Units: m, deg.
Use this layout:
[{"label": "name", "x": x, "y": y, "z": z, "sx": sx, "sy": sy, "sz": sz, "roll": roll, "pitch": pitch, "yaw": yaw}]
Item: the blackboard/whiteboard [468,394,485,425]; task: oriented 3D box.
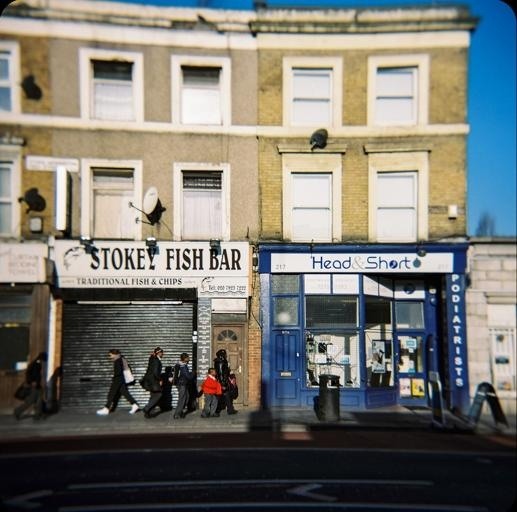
[{"label": "blackboard/whiteboard", "x": 5.263, "y": 3.693, "z": 22.284, "sx": 0.353, "sy": 0.713, "sz": 0.560, "roll": 2, "pitch": -4, "yaw": -2}]

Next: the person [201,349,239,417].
[{"label": "person", "x": -0.947, "y": 3.319, "z": 24.077, "sx": 0.708, "sy": 1.721, "sz": 1.566, "roll": 0, "pitch": -5, "yaw": 14}]

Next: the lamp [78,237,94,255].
[{"label": "lamp", "x": -4.596, "y": -0.279, "z": 24.929, "sx": 0.439, "sy": 0.449, "sz": 0.262, "roll": 3, "pitch": -5, "yaw": -14}]

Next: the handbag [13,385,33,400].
[{"label": "handbag", "x": -5.964, "y": 3.497, "z": 23.441, "sx": 0.335, "sy": 0.418, "sz": 0.163, "roll": 9, "pitch": -39, "yaw": 10}]

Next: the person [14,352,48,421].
[{"label": "person", "x": -5.847, "y": 3.340, "z": 23.729, "sx": 0.711, "sy": 1.707, "sz": 0.925, "roll": 2, "pitch": -4, "yaw": -10}]

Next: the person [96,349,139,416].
[{"label": "person", "x": -3.635, "y": 3.327, "z": 24.262, "sx": 0.990, "sy": 1.726, "sz": 0.814, "roll": 1, "pitch": -4, "yaw": 2}]

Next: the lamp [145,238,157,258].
[{"label": "lamp", "x": -2.888, "y": -0.262, "z": 25.002, "sx": 0.308, "sy": 0.491, "sz": 0.416, "roll": 2, "pitch": -5, "yaw": -8}]

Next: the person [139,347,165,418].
[{"label": "person", "x": -2.752, "y": 3.264, "z": 23.802, "sx": 0.514, "sy": 1.759, "sz": 0.788, "roll": 2, "pitch": -4, "yaw": -7}]

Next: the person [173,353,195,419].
[{"label": "person", "x": -1.972, "y": 3.371, "z": 24.100, "sx": 0.490, "sy": 1.652, "sz": 1.387, "roll": 2, "pitch": -4, "yaw": -5}]

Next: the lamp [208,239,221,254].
[{"label": "lamp", "x": -1.192, "y": -0.257, "z": 25.120, "sx": 0.323, "sy": 0.408, "sz": 0.311, "roll": 2, "pitch": -4, "yaw": -4}]

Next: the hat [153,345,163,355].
[{"label": "hat", "x": -2.653, "y": 2.517, "z": 24.277, "sx": 0.164, "sy": 0.225, "sz": 0.237, "roll": 10, "pitch": -39, "yaw": -30}]
